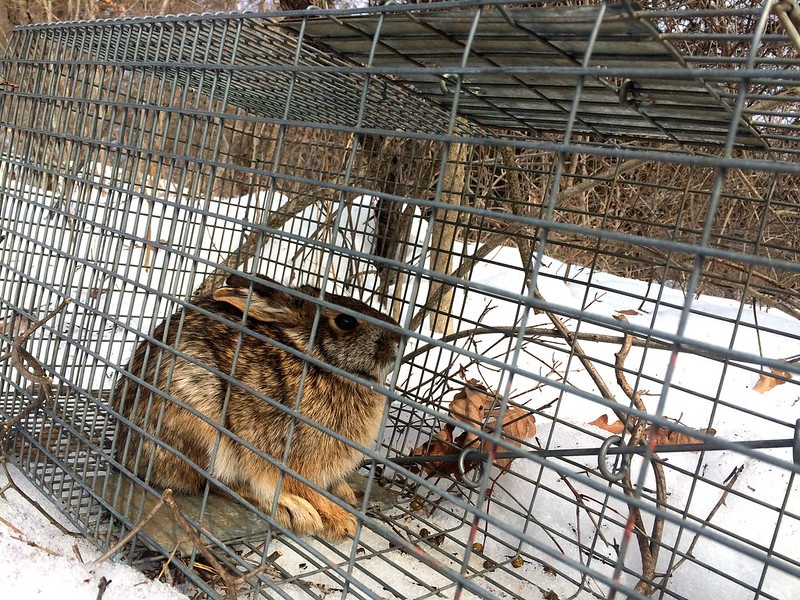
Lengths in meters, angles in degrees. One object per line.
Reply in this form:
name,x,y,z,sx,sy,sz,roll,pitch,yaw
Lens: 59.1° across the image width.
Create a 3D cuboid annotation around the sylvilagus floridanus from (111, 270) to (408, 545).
sylvilagus floridanus,-0.652,0.406,3.554,1.398,1.194,0.879,6,15,28
